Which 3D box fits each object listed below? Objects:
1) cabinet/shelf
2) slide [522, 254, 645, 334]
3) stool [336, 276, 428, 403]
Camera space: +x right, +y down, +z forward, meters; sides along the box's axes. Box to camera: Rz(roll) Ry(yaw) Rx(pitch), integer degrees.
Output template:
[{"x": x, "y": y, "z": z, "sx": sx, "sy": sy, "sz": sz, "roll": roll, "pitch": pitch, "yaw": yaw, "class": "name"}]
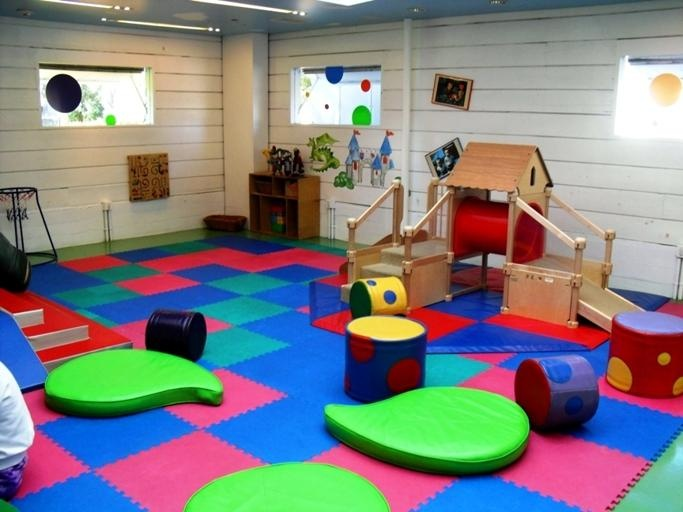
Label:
[{"x": -1.138, "y": -0.995, "z": 10.053, "sx": 1.349, "sy": 1.181, "sz": 0.538, "roll": 12, "pitch": 17, "yaw": 38, "class": "cabinet/shelf"}, {"x": 2.724, "y": 0.418, "z": 5.953, "sx": 0.672, "sy": 0.675, "sz": 1.176, "roll": -22, "pitch": 29, "yaw": -39, "class": "slide"}, {"x": 0.426, "y": 0.791, "z": 4.629, "sx": 0.608, "sy": 1.011, "sz": 1.018, "roll": -3, "pitch": 8, "yaw": -22, "class": "stool"}]
